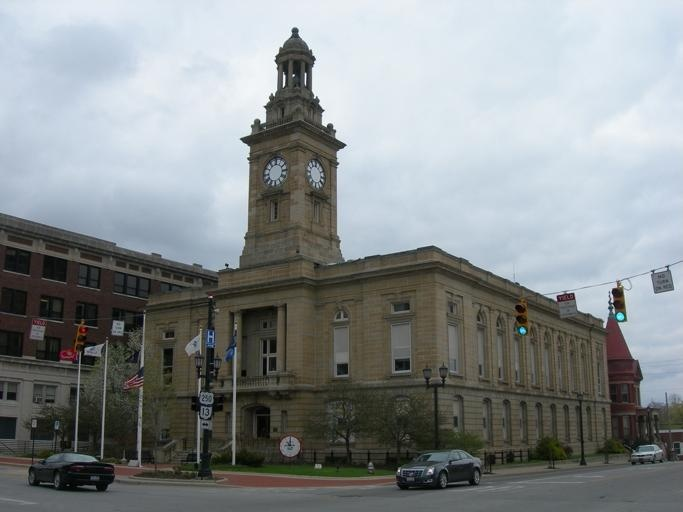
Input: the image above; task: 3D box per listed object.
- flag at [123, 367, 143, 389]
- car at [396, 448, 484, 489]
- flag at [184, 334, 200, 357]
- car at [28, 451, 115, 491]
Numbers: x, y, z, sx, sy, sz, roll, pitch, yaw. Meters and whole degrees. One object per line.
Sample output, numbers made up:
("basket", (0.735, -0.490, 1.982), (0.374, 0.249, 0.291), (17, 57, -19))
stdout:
("flag", (-15.588, 9.051, 58.627), (1.113, 1.478, 2.050), (6, -22, -21))
("car", (5.336, 11.511, 42.589), (4.974, 2.184, 1.562), (14, -25, -35))
("flag", (-10.739, 6.269, 56.376), (0.867, 1.528, 2.025), (2, -21, -9))
("car", (-14.345, 11.253, 41.255), (4.230, 2.089, 1.815), (-12, -23, 24))
